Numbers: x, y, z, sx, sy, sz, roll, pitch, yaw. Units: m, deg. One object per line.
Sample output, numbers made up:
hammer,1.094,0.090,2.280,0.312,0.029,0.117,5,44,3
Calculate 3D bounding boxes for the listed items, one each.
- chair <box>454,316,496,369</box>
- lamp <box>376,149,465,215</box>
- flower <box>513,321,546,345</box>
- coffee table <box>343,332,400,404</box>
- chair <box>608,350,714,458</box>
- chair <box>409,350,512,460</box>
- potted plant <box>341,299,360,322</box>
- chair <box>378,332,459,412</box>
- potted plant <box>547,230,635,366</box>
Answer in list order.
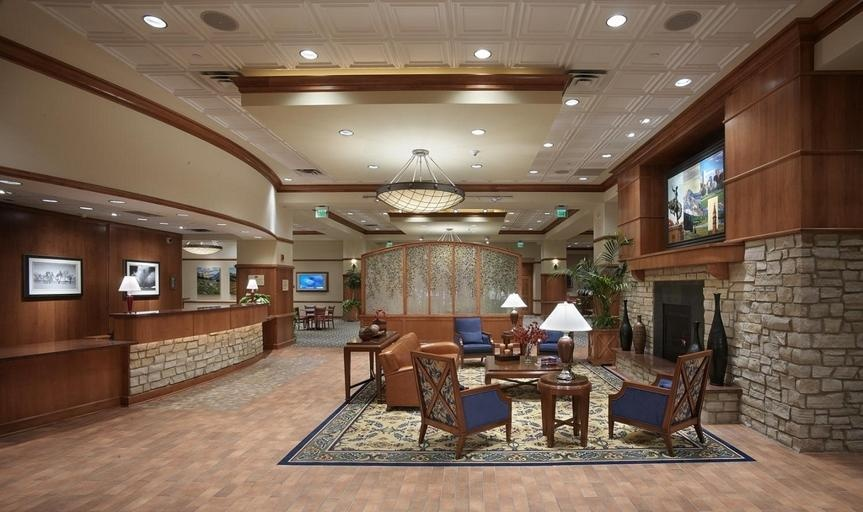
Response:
chair,1.046,2.175,11.940,0.908,1.033,0.905,-1,4,-15
lamp,-0.272,-1.568,9.762,1.918,0.978,1.763,3,4,14
flower,1.896,1.501,9.065,0.632,0.428,0.573,0,2,8
coffee table,-1.422,2.382,9.844,0.674,0.882,1.866,-20,-17,-16
chair,3.646,2.233,7.447,1.238,1.273,1.246,4,-6,-33
chair,0.541,2.308,7.461,1.647,1.332,1.550,-5,-12,21
potted plant,-4.029,2.571,21.868,1.242,0.995,1.116,0,-7,2
chair,-0.124,2.292,9.718,1.405,1.026,2.796,-3,-1,4
potted plant,4.322,1.314,12.172,1.981,2.912,1.691,-3,-10,-44
